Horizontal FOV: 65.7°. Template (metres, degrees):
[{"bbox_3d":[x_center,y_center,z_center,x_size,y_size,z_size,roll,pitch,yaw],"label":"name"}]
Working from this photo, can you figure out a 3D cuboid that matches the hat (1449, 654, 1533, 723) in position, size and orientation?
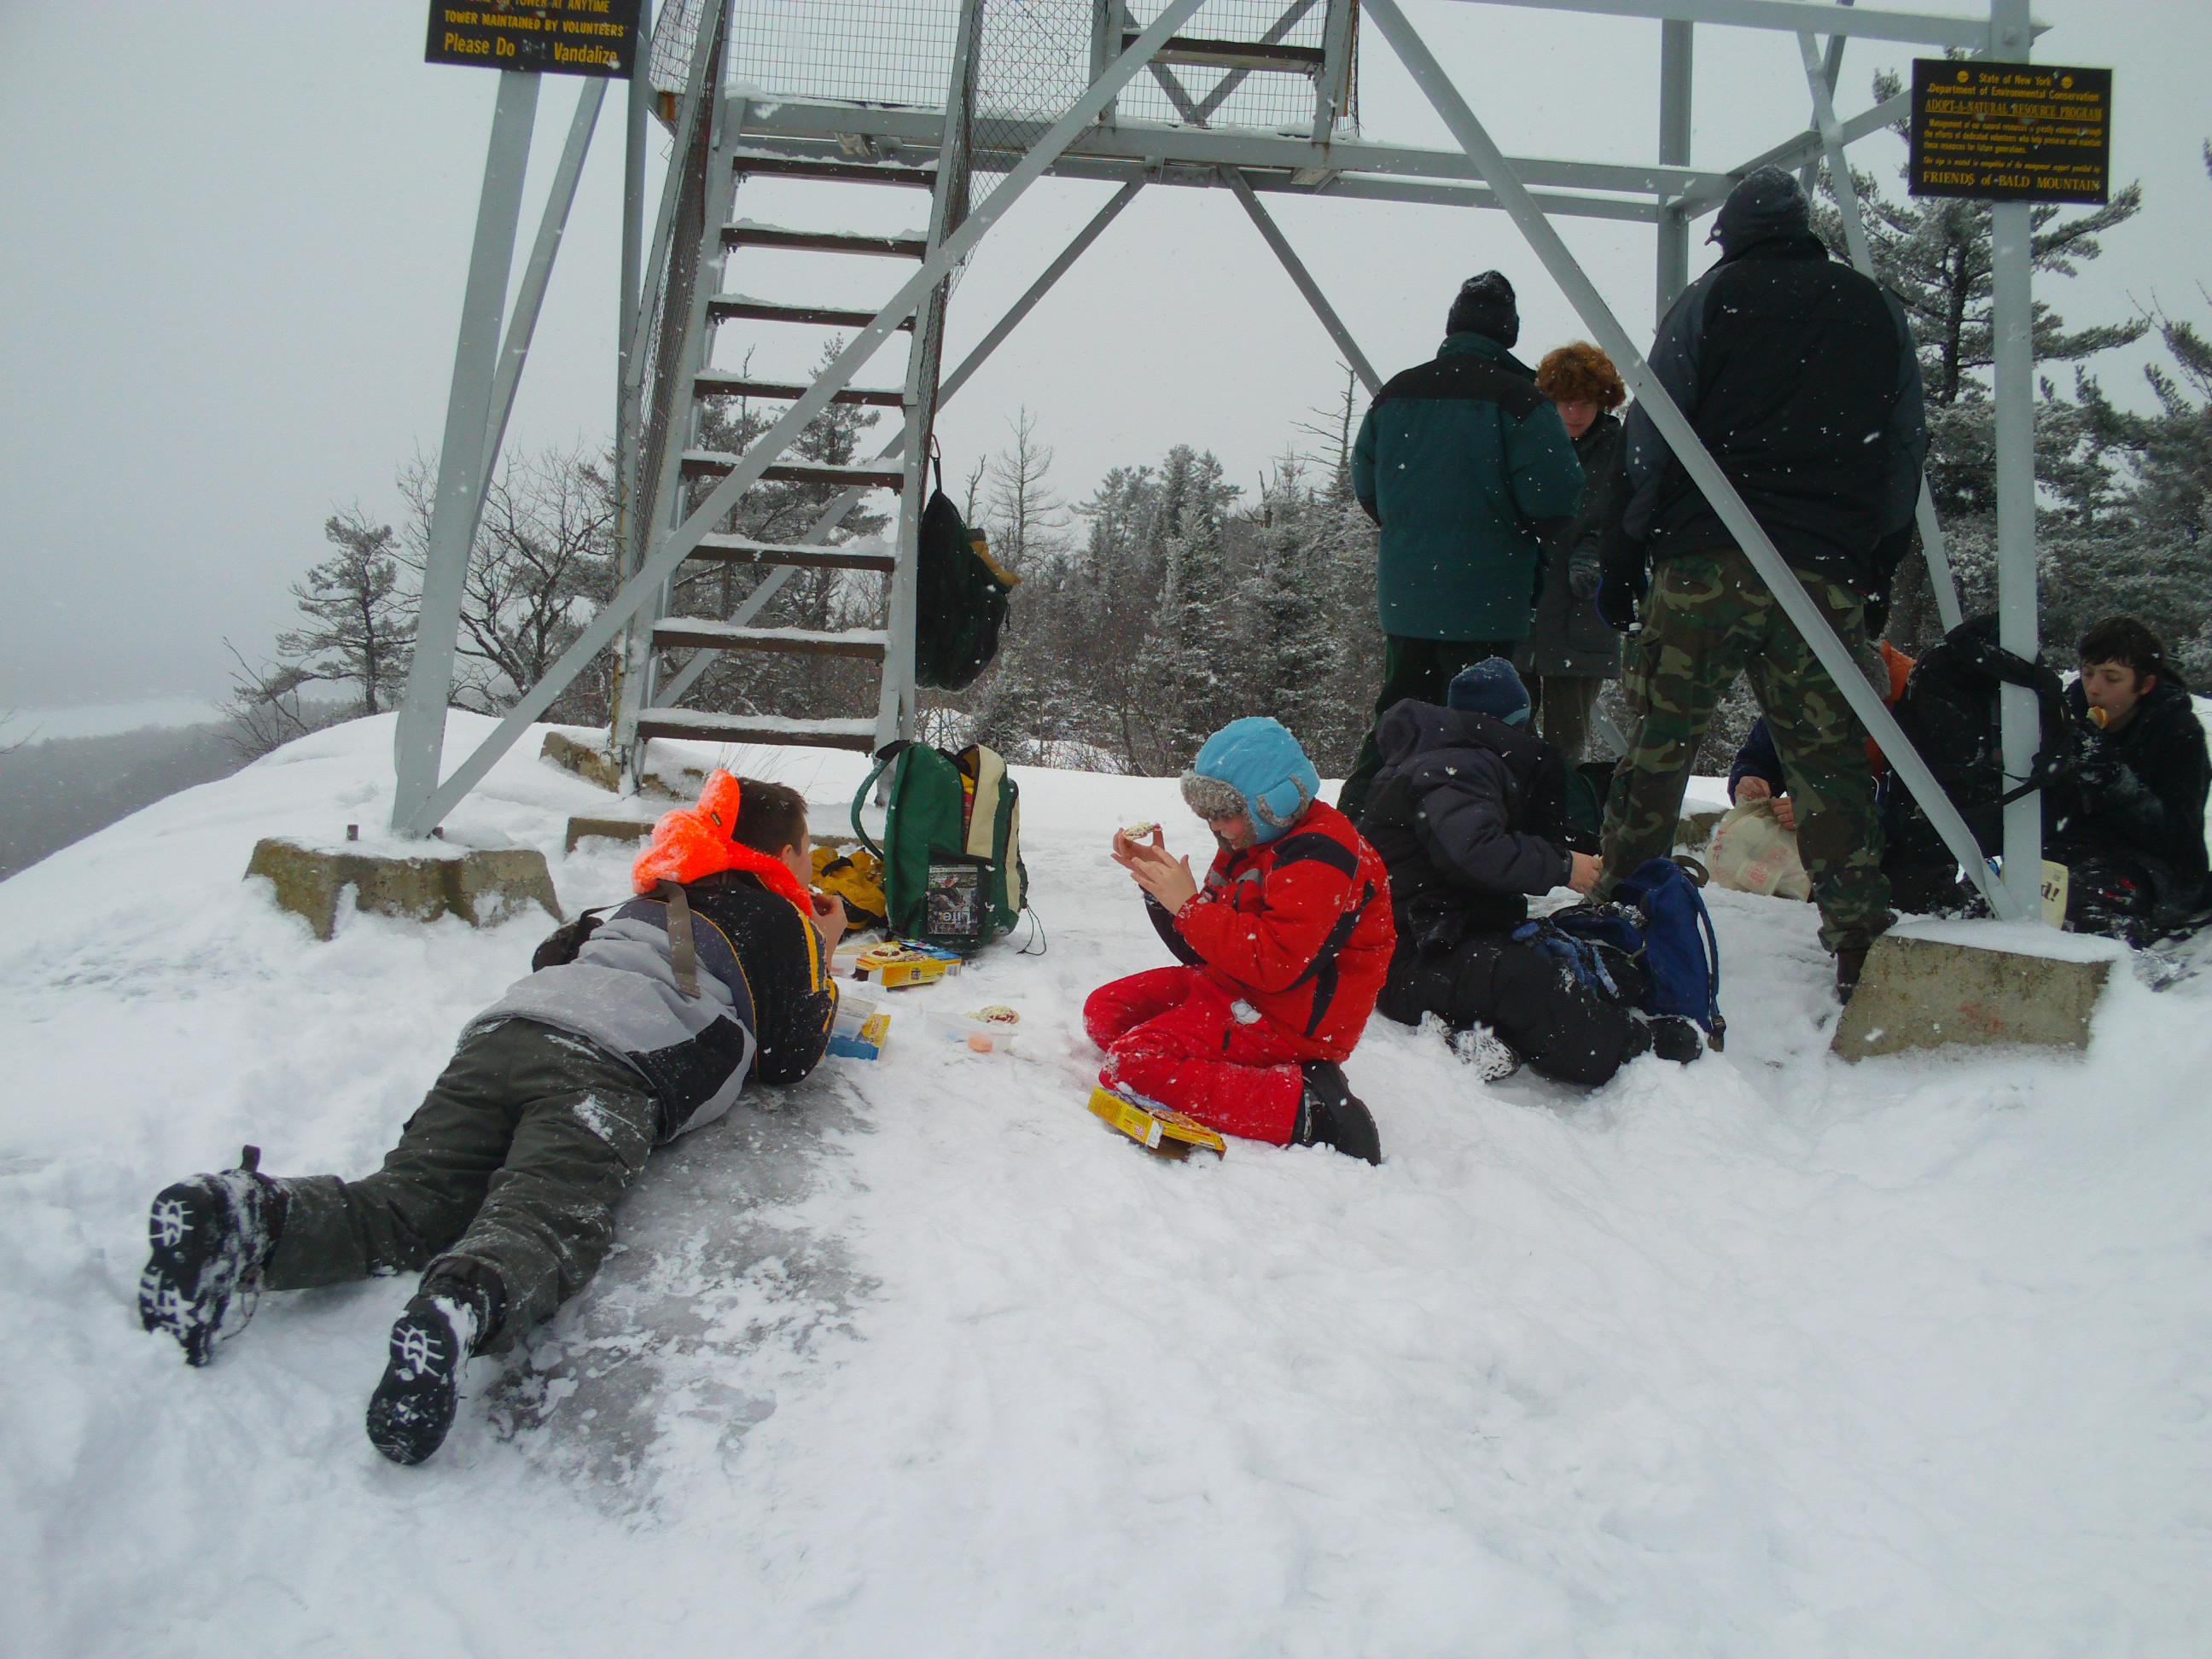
[{"bbox_3d":[1.222,-0.418,5.432,0.174,0.170,0.256,11,27,34],"label":"hat"}]

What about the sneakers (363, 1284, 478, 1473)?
[{"bbox_3d":[-1.276,0.987,3.108,0.150,0.352,0.142,7,6,-7],"label":"sneakers"}]

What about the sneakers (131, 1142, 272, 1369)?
[{"bbox_3d":[-1.732,0.776,3.200,0.143,0.399,0.224,-3,28,-30],"label":"sneakers"}]

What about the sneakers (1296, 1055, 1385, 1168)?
[{"bbox_3d":[0.596,0.729,4.412,0.229,0.215,0.152,7,8,7],"label":"sneakers"}]

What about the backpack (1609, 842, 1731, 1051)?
[{"bbox_3d":[1.682,0.355,5.084,0.388,0.507,0.446,9,9,18],"label":"backpack"}]

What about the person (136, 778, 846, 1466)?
[{"bbox_3d":[-1.254,0.490,3.684,0.691,1.157,1.470,9,9,20],"label":"person"}]

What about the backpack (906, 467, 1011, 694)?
[{"bbox_3d":[-0.628,-1.005,7.023,0.396,0.924,0.736,5,8,-6],"label":"backpack"}]

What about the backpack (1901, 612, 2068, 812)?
[{"bbox_3d":[2.580,-0.349,5.081,0.392,0.600,0.555,12,-30,23],"label":"backpack"}]

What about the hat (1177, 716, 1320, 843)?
[{"bbox_3d":[0.350,-0.142,4.535,0.323,0.338,0.271,-3,12,-12],"label":"hat"}]
